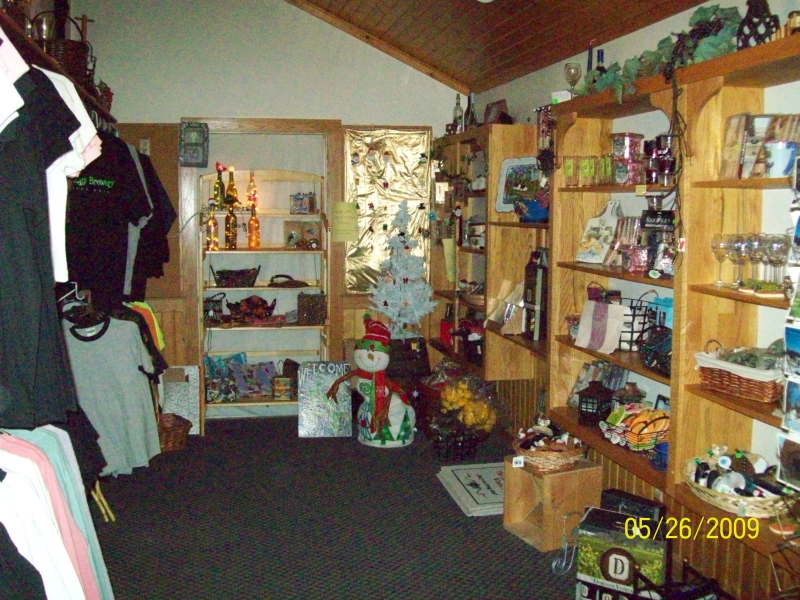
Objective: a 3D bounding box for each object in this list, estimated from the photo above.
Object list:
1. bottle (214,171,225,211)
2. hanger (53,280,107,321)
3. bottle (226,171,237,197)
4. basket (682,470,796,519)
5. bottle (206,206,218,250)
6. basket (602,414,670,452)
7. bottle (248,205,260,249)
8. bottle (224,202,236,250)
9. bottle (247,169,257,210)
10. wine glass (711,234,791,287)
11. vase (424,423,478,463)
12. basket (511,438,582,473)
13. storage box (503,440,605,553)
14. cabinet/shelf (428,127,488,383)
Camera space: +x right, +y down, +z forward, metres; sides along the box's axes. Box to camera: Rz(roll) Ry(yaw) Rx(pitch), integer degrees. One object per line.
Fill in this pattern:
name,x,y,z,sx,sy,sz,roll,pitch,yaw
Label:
bottle,-1.731,-1.041,5.924,0.100,0.349,0.336,-4,10,-15
hanger,-2.144,-0.006,4.150,0.297,0.125,0.385,1,18,-18
bottle,-1.632,-1.118,6.006,0.104,0.272,0.540,-4,10,-14
basket,1.561,0.882,2.825,0.410,0.099,0.383,-1,3,11
bottle,-1.812,-0.683,5.957,0.112,0.382,0.401,-4,10,-15
basket,1.326,0.727,3.464,0.244,0.073,0.237,-16,11,-43
bottle,-1.442,-0.716,6.100,0.121,0.405,0.433,-4,10,-13
bottle,-1.619,-0.695,5.904,0.118,0.428,0.197,-4,10,-15
bottle,-1.460,-1.082,6.119,0.097,0.371,0.397,-3,10,-13
wine glass,1.605,-0.182,2.850,0.251,0.177,0.247,-5,6,-35
vase,0.434,1.106,4.925,0.298,0.208,0.285,-1,3,-16
basket,0.891,0.934,3.761,0.422,0.175,0.206,0,10,7
storage box,0.901,1.182,3.900,0.567,0.512,0.557,-8,15,-28
cabinet/shelf,0.564,-0.472,5.581,0.512,2.001,1.716,-2,10,-4
